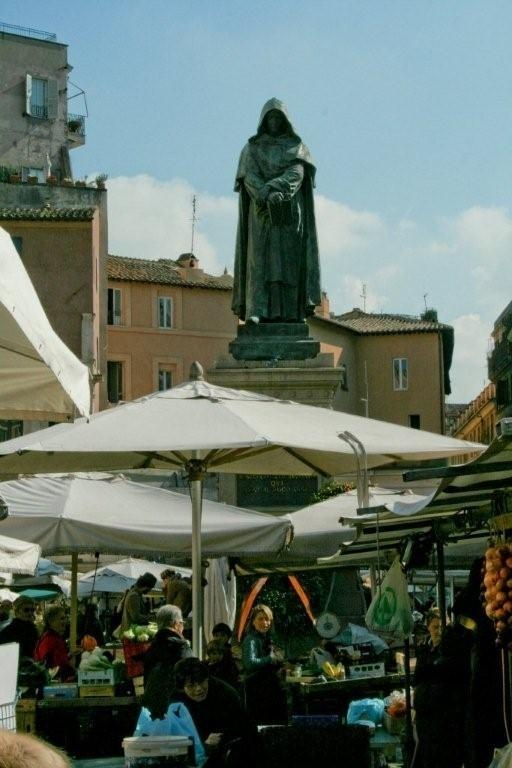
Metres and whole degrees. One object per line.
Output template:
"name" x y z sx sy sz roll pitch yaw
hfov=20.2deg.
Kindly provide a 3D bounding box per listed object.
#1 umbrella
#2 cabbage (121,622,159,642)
"umbrella" -0.317 0.303 7.990 2.156 1.335 2.557 -6 -7 40
"cabbage" -0.690 1.480 8.600 0.237 0.087 0.252 1 2 21
